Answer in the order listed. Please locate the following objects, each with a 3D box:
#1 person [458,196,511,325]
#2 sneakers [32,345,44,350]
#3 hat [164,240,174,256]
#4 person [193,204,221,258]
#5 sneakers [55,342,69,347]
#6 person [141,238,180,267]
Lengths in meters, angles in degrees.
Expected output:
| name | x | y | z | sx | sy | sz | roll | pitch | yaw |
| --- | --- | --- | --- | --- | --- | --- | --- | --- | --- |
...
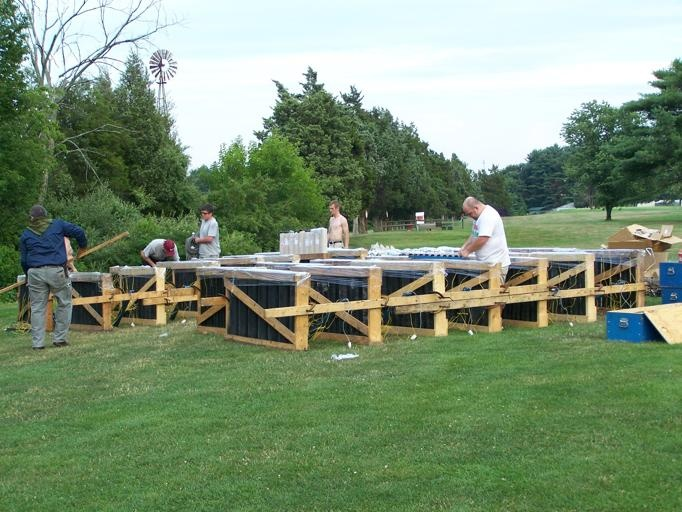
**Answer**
| name | x | y | z | sx | sy | sz | roll | pitch | yaw |
| --- | --- | --- | --- | --- | --- | --- | --- | --- | --- |
| person | 3.511 | -0.411 | 26.238 | 1.131 | 2.095 | 0.977 | 0 | 1 | 18 |
| sneakers | -7.188 | 2.128 | 25.553 | 0.245 | 0.082 | 0.124 | -1 | 1 | -18 |
| hat | -4.681 | -0.282 | 29.325 | 0.251 | 0.403 | 0.468 | -1 | 1 | -8 |
| person | -3.700 | -0.714 | 29.644 | 0.671 | 1.471 | 1.286 | -1 | 1 | -9 |
| sneakers | -6.720 | 2.062 | 25.873 | 0.322 | 0.149 | 0.120 | -9 | 10 | -17 |
| person | -5.170 | -0.126 | 30.706 | 0.441 | 0.559 | 0.914 | -25 | -14 | -39 |
